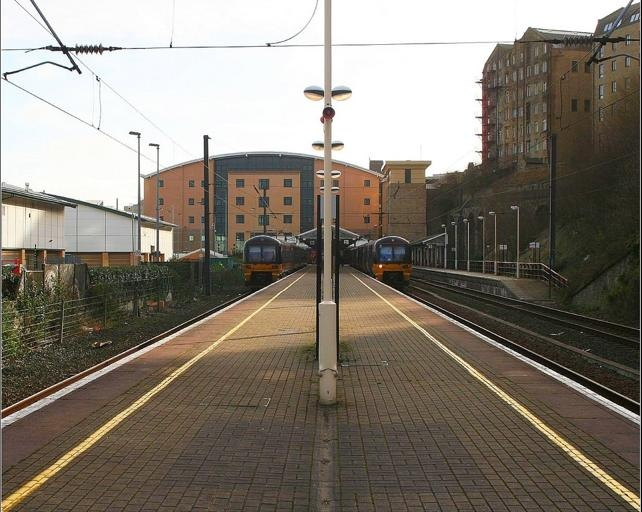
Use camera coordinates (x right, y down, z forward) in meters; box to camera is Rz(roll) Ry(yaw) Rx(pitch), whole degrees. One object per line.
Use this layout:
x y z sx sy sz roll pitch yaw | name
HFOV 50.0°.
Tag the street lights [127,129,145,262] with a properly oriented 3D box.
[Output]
-10.569 -3.688 39.974 0.831 8.392 0.760 -3 -27 -14 | street lights
